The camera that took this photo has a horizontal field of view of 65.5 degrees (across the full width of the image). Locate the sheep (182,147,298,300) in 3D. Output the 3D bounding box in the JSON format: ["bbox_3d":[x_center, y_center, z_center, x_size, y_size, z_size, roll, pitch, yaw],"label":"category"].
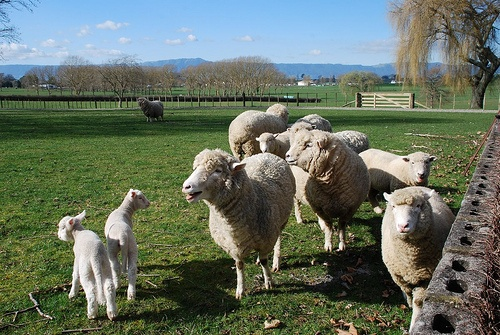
[{"bbox_3d":[0.036,0.889,7.368,1.240,2.679,3.453,-2,8,22],"label":"sheep"}]

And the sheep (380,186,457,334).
[{"bbox_3d":[2.678,1.319,6.253,1.338,2.017,0.871,-16,18,-41],"label":"sheep"}]

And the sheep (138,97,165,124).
[{"bbox_3d":[-8.437,-4.980,33.258,1.040,2.040,2.191,2,14,22],"label":"sheep"}]
